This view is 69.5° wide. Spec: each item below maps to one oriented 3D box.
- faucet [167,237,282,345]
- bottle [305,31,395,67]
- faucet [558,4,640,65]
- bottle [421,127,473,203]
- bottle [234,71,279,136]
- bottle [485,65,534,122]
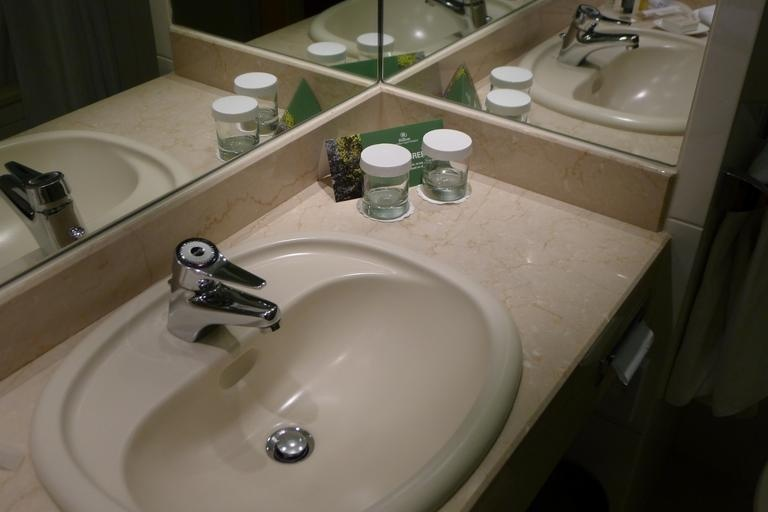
[{"bbox_3d":[-0.315,0.075,1.067,0.201,0.171,0.068,20,43,13],"label":"faucet"},{"bbox_3d":[-0.107,-0.557,1.527,0.183,0.045,0.115,-25,59,-20],"label":"bottle"},{"bbox_3d":[0.493,-0.558,1.351,0.205,0.153,0.084,20,53,28],"label":"faucet"},{"bbox_3d":[0.157,-0.229,1.419,0.114,0.129,0.120,-17,48,-6],"label":"bottle"},{"bbox_3d":[-0.288,-0.374,1.351,0.120,0.142,0.128,-8,46,-11],"label":"bottle"},{"bbox_3d":[0.306,-0.421,1.458,0.113,0.133,0.127,-19,53,-8],"label":"bottle"}]
